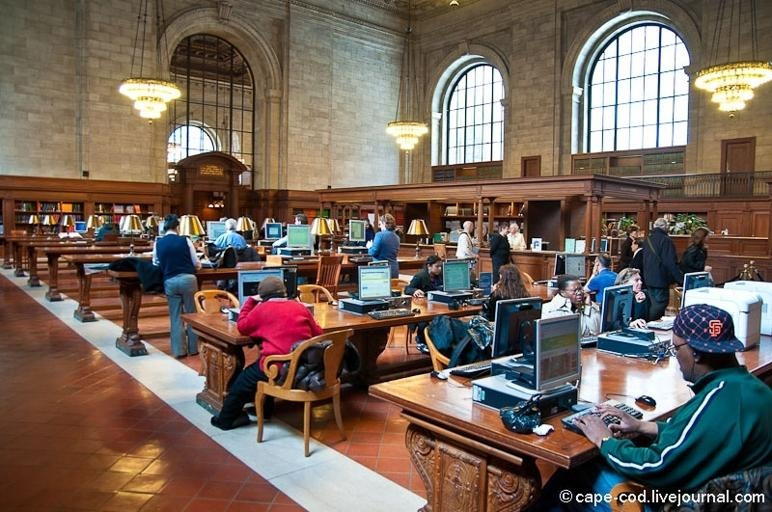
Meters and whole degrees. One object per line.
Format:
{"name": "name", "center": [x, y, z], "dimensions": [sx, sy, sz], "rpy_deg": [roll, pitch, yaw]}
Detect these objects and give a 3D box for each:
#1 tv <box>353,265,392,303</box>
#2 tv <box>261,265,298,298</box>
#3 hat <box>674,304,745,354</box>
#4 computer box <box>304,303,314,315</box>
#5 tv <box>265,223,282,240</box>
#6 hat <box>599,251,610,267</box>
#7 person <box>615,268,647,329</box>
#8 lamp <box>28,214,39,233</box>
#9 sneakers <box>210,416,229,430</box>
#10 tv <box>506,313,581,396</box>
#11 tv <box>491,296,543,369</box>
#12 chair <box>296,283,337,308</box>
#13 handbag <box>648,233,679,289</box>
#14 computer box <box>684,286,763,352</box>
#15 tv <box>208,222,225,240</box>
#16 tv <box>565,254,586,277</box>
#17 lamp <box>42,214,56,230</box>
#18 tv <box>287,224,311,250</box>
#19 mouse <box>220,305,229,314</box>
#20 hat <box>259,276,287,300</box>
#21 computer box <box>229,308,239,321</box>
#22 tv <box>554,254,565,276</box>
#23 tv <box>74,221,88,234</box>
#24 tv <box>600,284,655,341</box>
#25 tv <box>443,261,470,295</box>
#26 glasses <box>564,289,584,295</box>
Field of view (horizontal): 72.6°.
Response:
{"name": "tv", "center": [-0.145, 0.325, 6.110], "dimensions": [0.449, 0.313, 0.055], "rpy_deg": [4, -18, -41]}
{"name": "tv", "center": [-1.139, 0.274, 5.625], "dimensions": [0.204, 0.345, 0.383], "rpy_deg": [-3, 0, 38]}
{"name": "hat", "center": [1.925, 0.422, 3.213], "dimensions": [0.292, 0.192, 0.366], "rpy_deg": [-3, 10, -22]}
{"name": "computer box", "center": [-0.830, 0.559, 5.690], "dimensions": [0.151, 0.106, 0.147], "rpy_deg": [0, -2, 12]}
{"name": "tv", "center": [-2.895, -0.647, 13.452], "dimensions": [0.505, 0.440, 0.252], "rpy_deg": [8, -16, -37]}
{"name": "hat", "center": [2.953, 0.029, 7.003], "dimensions": [0.132, 0.164, 0.169], "rpy_deg": [-2, 12, -16]}
{"name": "person", "center": [2.795, 0.475, 6.014], "dimensions": [0.348, 0.769, 0.294], "rpy_deg": [-24, 23, -23]}
{"name": "lamp", "center": [-10.121, -0.936, 15.111], "dimensions": [0.284, 0.555, 1.187], "rpy_deg": [-6, 11, -34]}
{"name": "sneakers", "center": [-1.630, 1.622, 5.178], "dimensions": [0.176, 0.115, 0.091], "rpy_deg": [20, 22, 39]}
{"name": "tv", "center": [1.147, 0.590, 3.722], "dimensions": [0.804, 0.532, 0.448], "rpy_deg": [0, -2, -43]}
{"name": "tv", "center": [1.004, 0.591, 4.010], "dimensions": [0.507, 0.454, 0.268], "rpy_deg": [-5, 10, -37]}
{"name": "chair", "center": [-0.959, 0.493, 7.026], "dimensions": [0.394, 0.498, 0.416], "rpy_deg": [2, 5, 44]}
{"name": "handbag", "center": [4.143, 0.042, 7.872], "dimensions": [0.526, 0.875, 0.363], "rpy_deg": [7, 12, 33]}
{"name": "computer box", "center": [3.195, 0.577, 4.998], "dimensions": [0.600, 0.434, 0.593], "rpy_deg": [-2, 5, -34]}
{"name": "tv", "center": [-3.858, -0.577, 11.917], "dimensions": [0.267, 0.346, 0.519], "rpy_deg": [5, 6, 33]}
{"name": "tv", "center": [3.025, 0.143, 8.438], "dimensions": [0.406, 0.278, 0.217], "rpy_deg": [-1, 0, -42]}
{"name": "lamp", "center": [-9.337, -0.925, 14.625], "dimensions": [0.500, 0.446, 0.489], "rpy_deg": [0, 3, -41]}
{"name": "tv", "center": [-1.585, -0.342, 9.544], "dimensions": [0.508, 0.477, 0.177], "rpy_deg": [0, -3, -33]}
{"name": "mouse", "center": [-1.785, 0.588, 5.813], "dimensions": [0.099, 0.057, 0.138], "rpy_deg": [8, -13, -37]}
{"name": "hat", "center": [-1.079, 0.301, 4.962], "dimensions": [0.184, 0.141, 0.250], "rpy_deg": [-4, 7, -19]}
{"name": "computer box", "center": [-1.591, 0.603, 5.473], "dimensions": [0.152, 0.138, 0.109], "rpy_deg": [0, -1, -23]}
{"name": "tv", "center": [2.926, 0.143, 8.820], "dimensions": [0.152, 0.334, 0.551], "rpy_deg": [4, 10, 17]}
{"name": "tv", "center": [-8.703, -0.818, 14.969], "dimensions": [0.327, 0.331, 0.189], "rpy_deg": [-15, 11, -17]}
{"name": "tv", "center": [2.389, 0.562, 5.258], "dimensions": [0.597, 0.399, 0.223], "rpy_deg": [-8, 9, -43]}
{"name": "tv", "center": [0.870, 0.271, 6.630], "dimensions": [0.428, 0.323, 0.058], "rpy_deg": [2, -5, -38]}
{"name": "glasses", "center": [1.827, 0.339, 5.076], "dimensions": [0.203, 0.081, 0.054], "rpy_deg": [-3, 11, -25]}
